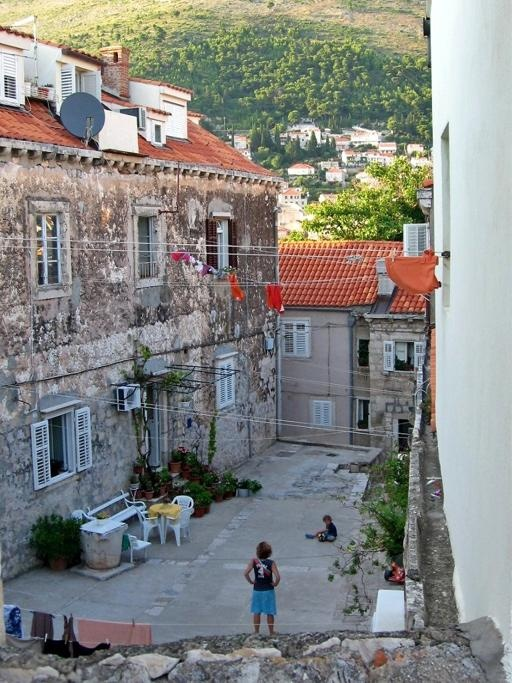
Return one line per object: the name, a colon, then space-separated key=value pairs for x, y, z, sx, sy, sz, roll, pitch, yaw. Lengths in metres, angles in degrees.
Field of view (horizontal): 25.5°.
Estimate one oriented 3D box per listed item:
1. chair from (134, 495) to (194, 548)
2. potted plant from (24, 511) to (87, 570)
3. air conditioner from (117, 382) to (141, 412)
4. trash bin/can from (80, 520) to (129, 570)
chair: x=-1.470 y=2.957 z=18.296 sx=0.644 sy=0.615 sz=0.764 roll=3 pitch=-1 yaw=-9
potted plant: x=-2.950 y=2.954 z=16.696 sx=0.647 sy=0.795 sz=0.697 roll=0 pitch=6 yaw=-7
air conditioner: x=-2.167 y=0.965 z=19.065 sx=0.222 sy=0.427 sz=0.648 roll=5 pitch=6 yaw=22
trash bin/can: x=-2.230 y=2.974 z=16.622 sx=0.630 sy=0.806 sz=0.597 roll=0 pitch=-1 yaw=-41
